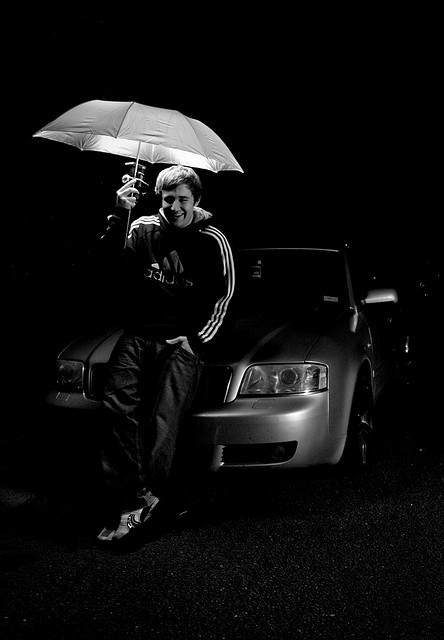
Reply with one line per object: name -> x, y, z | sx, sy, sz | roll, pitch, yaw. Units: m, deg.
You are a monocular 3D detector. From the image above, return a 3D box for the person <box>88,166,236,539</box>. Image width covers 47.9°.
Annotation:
person -> -0.289, 0.143, 2.409 | 0.605, 1.775, 0.389 | 2, -5, -18

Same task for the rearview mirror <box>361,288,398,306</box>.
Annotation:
rearview mirror -> 1.347, -0.205, 4.245 | 0.203, 0.189, 0.530 | -3, -7, 32
